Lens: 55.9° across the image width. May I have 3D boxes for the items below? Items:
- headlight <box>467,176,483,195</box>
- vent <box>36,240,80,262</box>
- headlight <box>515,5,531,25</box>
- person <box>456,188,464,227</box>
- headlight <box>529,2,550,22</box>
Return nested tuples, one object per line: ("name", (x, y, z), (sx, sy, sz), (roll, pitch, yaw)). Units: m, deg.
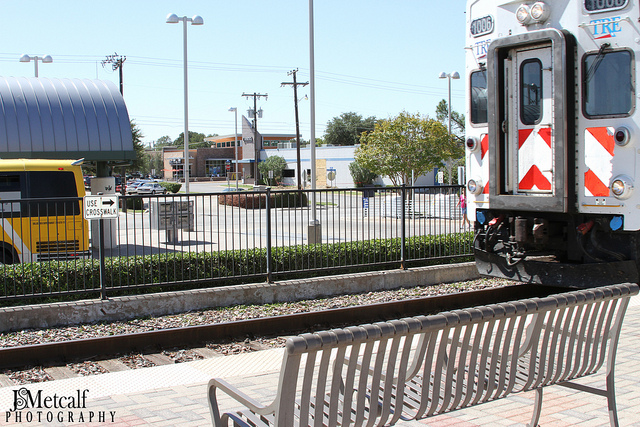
("headlight", (2.862, -0.522, 11.187), (0.117, 0.333, 0.288), (-6, 5, -32))
("vent", (-5.279, 0.708, 12.059), (0.815, 0.252, 2.508), (-6, 5, -22))
("headlight", (3.431, -3.365, 10.222), (0.096, 0.289, 0.206), (4, -9, -44))
("person", (3.336, -0.057, 14.373), (0.184, 0.686, 1.673), (-3, 5, 13))
("headlight", (3.657, -3.339, 10.046), (0.195, 0.384, 0.326), (-2, -2, -33))
